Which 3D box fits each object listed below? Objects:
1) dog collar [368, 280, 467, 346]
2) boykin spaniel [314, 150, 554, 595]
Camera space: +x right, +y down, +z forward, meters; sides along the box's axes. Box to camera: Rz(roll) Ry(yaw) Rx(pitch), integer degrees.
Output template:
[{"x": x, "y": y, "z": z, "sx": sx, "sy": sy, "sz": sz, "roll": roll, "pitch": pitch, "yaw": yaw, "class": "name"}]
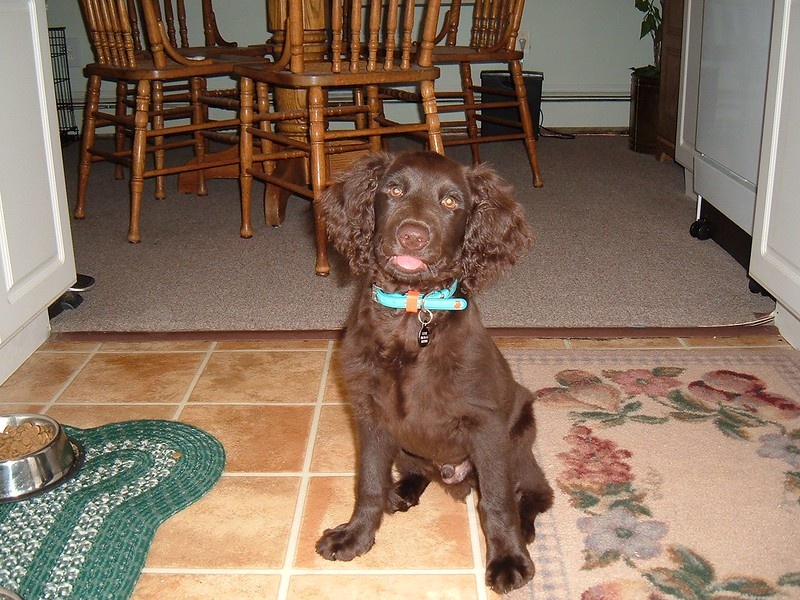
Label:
[{"x": 0.061, "y": 0.024, "z": 1.484, "sx": 0.150, "sy": 0.077, "sz": 0.178, "roll": 2, "pitch": 13, "yaw": 9, "class": "dog collar"}, {"x": 0.079, "y": 0.136, "z": 1.519, "sx": 0.670, "sy": 0.928, "sz": 0.639, "roll": 4, "pitch": 28, "yaw": 12, "class": "boykin spaniel"}]
